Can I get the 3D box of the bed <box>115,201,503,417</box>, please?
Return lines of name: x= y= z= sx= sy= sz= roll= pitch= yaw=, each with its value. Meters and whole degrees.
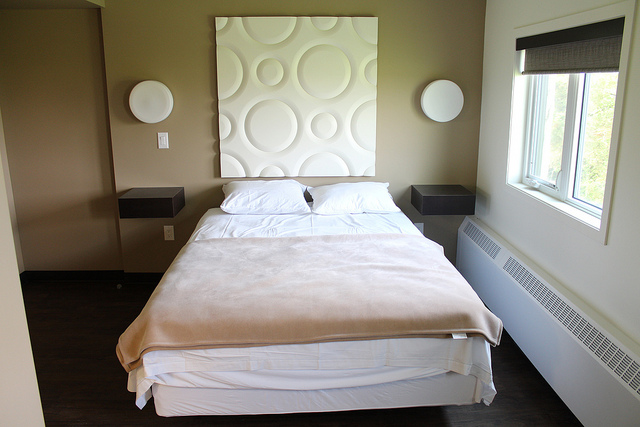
bed: x=-0.059 y=0.609 z=3.731 sx=2.217 sy=0.797 sz=2.566 roll=2 pitch=14 yaw=-6

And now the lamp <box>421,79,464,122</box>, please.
lamp: x=1.174 y=-1.088 z=4.250 sx=0.391 sy=0.386 sz=0.095 roll=-3 pitch=15 yaw=-11
